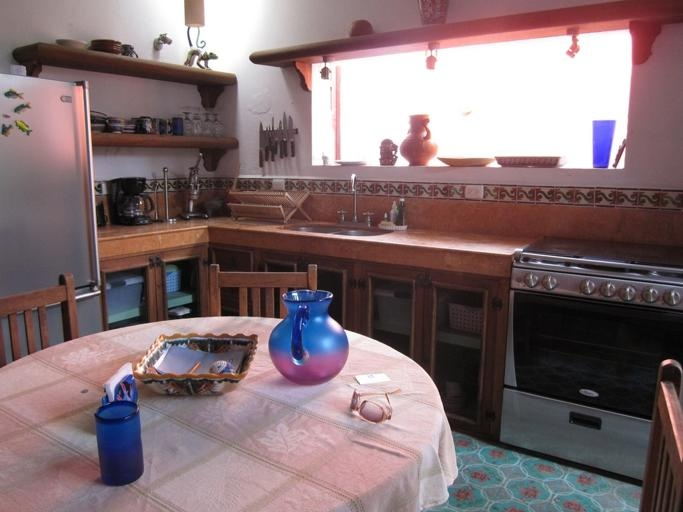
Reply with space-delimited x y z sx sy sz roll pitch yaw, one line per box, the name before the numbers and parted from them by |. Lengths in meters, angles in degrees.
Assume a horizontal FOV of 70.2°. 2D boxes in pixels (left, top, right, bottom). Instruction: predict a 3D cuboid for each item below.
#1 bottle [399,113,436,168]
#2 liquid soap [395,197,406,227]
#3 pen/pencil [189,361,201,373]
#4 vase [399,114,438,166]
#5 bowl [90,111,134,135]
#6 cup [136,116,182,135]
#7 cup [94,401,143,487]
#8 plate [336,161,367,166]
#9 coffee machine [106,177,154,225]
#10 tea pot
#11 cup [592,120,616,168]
bottle | 0.529 -0.793 3.314 0.308 0.373 0.282 0 20 0
liquid soap | 0.421 -0.310 3.414 0.065 0.189 0.143 4 13 17
pen/pencil | -0.458 0.341 1.509 0.010 0.009 0.053 35 19 -2
vase | 0.507 -0.834 3.451 0.311 0.377 0.285 4 21 10
bowl | -1.692 -0.938 3.482 0.242 0.101 0.219 5 8 34
cup | -1.406 -0.988 3.740 0.180 0.093 0.257 2 8 17
cup | -0.503 0.416 1.093 0.092 0.171 0.078 -4 13 -20
plate | 0.065 -0.696 3.656 0.251 0.045 0.080 9 14 33
coffee machine | -1.532 -0.413 3.659 0.420 0.430 0.283 -1 7 -2
tea pot | -0.072 0.233 1.480 0.227 0.262 0.272 3 8 7
cup | 1.501 -0.642 2.795 0.114 0.272 0.080 6 13 23
